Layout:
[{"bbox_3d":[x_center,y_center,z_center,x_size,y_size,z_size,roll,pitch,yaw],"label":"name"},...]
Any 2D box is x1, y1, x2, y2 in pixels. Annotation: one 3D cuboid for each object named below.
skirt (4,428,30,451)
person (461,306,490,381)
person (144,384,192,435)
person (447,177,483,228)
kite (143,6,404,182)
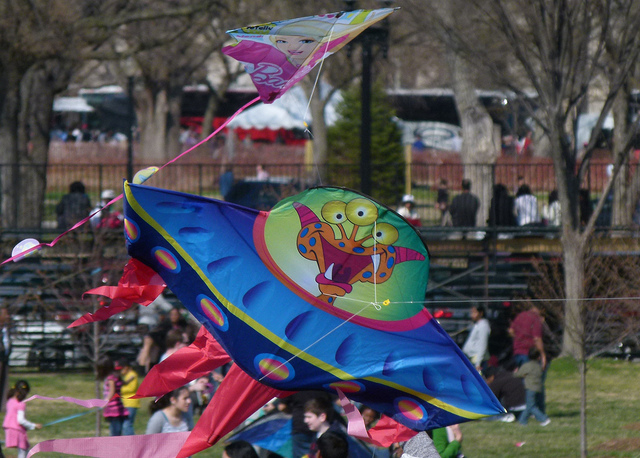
[{"bbox_3d":[-4.782,3.352,32.360,0.388,0.426,0.306,4,17,4],"label":"skirt"},{"bbox_3d":[2.592,1.905,33.638,0.273,1.168,0.408,0,11,6],"label":"person"},{"bbox_3d":[-2.381,2.859,31.996,0.584,0.754,0.740,2,9,7],"label":"person"},{"bbox_3d":[2.569,-0.408,35.778,0.523,0.871,0.517,-4,11,-19],"label":"person"},{"bbox_3d":[-0.480,-2.791,33.290,3.798,3.796,3.658,0,5,17],"label":"kite"}]
